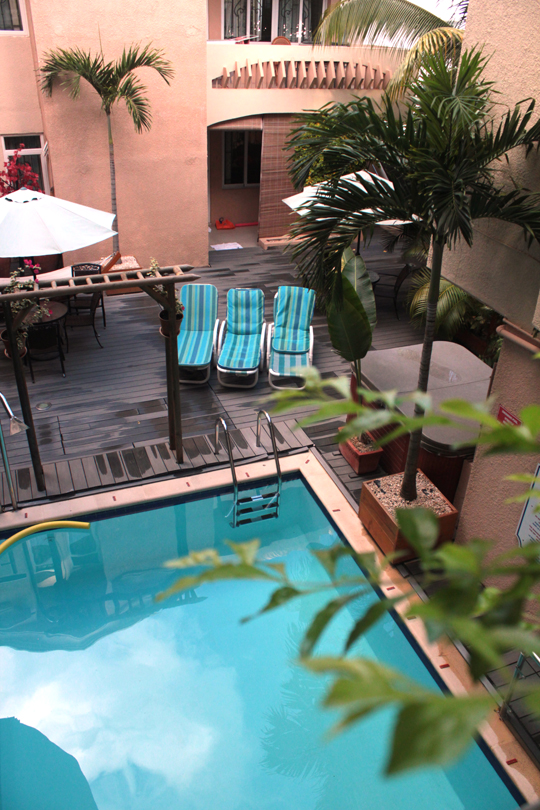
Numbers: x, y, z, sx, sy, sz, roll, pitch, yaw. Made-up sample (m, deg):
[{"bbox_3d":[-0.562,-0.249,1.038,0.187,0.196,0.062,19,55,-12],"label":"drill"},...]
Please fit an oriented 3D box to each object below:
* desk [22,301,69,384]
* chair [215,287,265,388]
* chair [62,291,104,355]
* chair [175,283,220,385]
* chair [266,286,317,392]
[{"bbox_3d":[-4.767,-1.446,11.055,0.950,1.374,1.512,-8,24,-21],"label":"desk"},{"bbox_3d":[-0.608,-1.273,11.197,1.065,1.564,2.134,2,56,2],"label":"chair"},{"bbox_3d":[-4.334,-1.987,11.904,0.865,1.294,0.824,1,25,-4],"label":"chair"},{"bbox_3d":[-1.719,-2.013,12.214,0.780,1.630,2.146,-2,10,-11],"label":"chair"},{"bbox_3d":[0.437,-1.347,10.958,0.978,1.449,2.559,2,52,0],"label":"chair"}]
